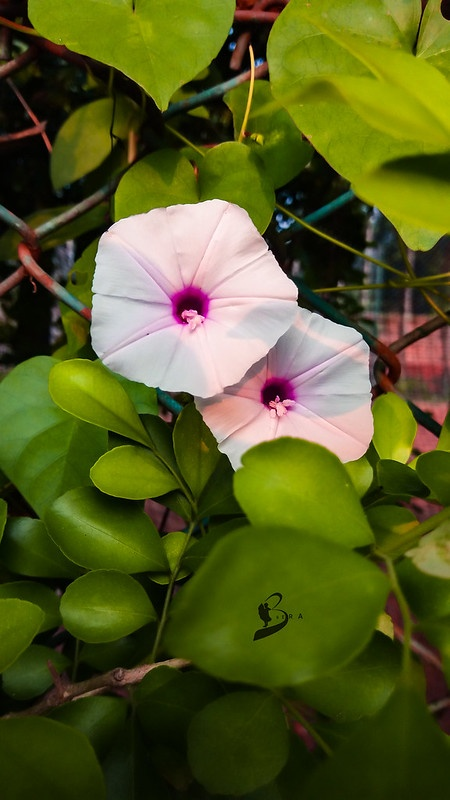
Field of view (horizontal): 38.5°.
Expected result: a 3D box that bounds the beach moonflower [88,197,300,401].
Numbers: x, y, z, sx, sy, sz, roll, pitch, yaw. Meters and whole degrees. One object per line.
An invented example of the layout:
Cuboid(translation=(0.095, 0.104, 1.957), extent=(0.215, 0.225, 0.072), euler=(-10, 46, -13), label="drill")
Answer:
Cuboid(translation=(-0.033, -0.077, 0.513), extent=(0.164, 0.168, 0.060), euler=(-29, -8, -7), label="beach moonflower")

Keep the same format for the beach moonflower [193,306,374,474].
Cuboid(translation=(0.060, -0.004, 0.482), extent=(0.134, 0.132, 0.053), euler=(-1, -14, -5), label="beach moonflower")
